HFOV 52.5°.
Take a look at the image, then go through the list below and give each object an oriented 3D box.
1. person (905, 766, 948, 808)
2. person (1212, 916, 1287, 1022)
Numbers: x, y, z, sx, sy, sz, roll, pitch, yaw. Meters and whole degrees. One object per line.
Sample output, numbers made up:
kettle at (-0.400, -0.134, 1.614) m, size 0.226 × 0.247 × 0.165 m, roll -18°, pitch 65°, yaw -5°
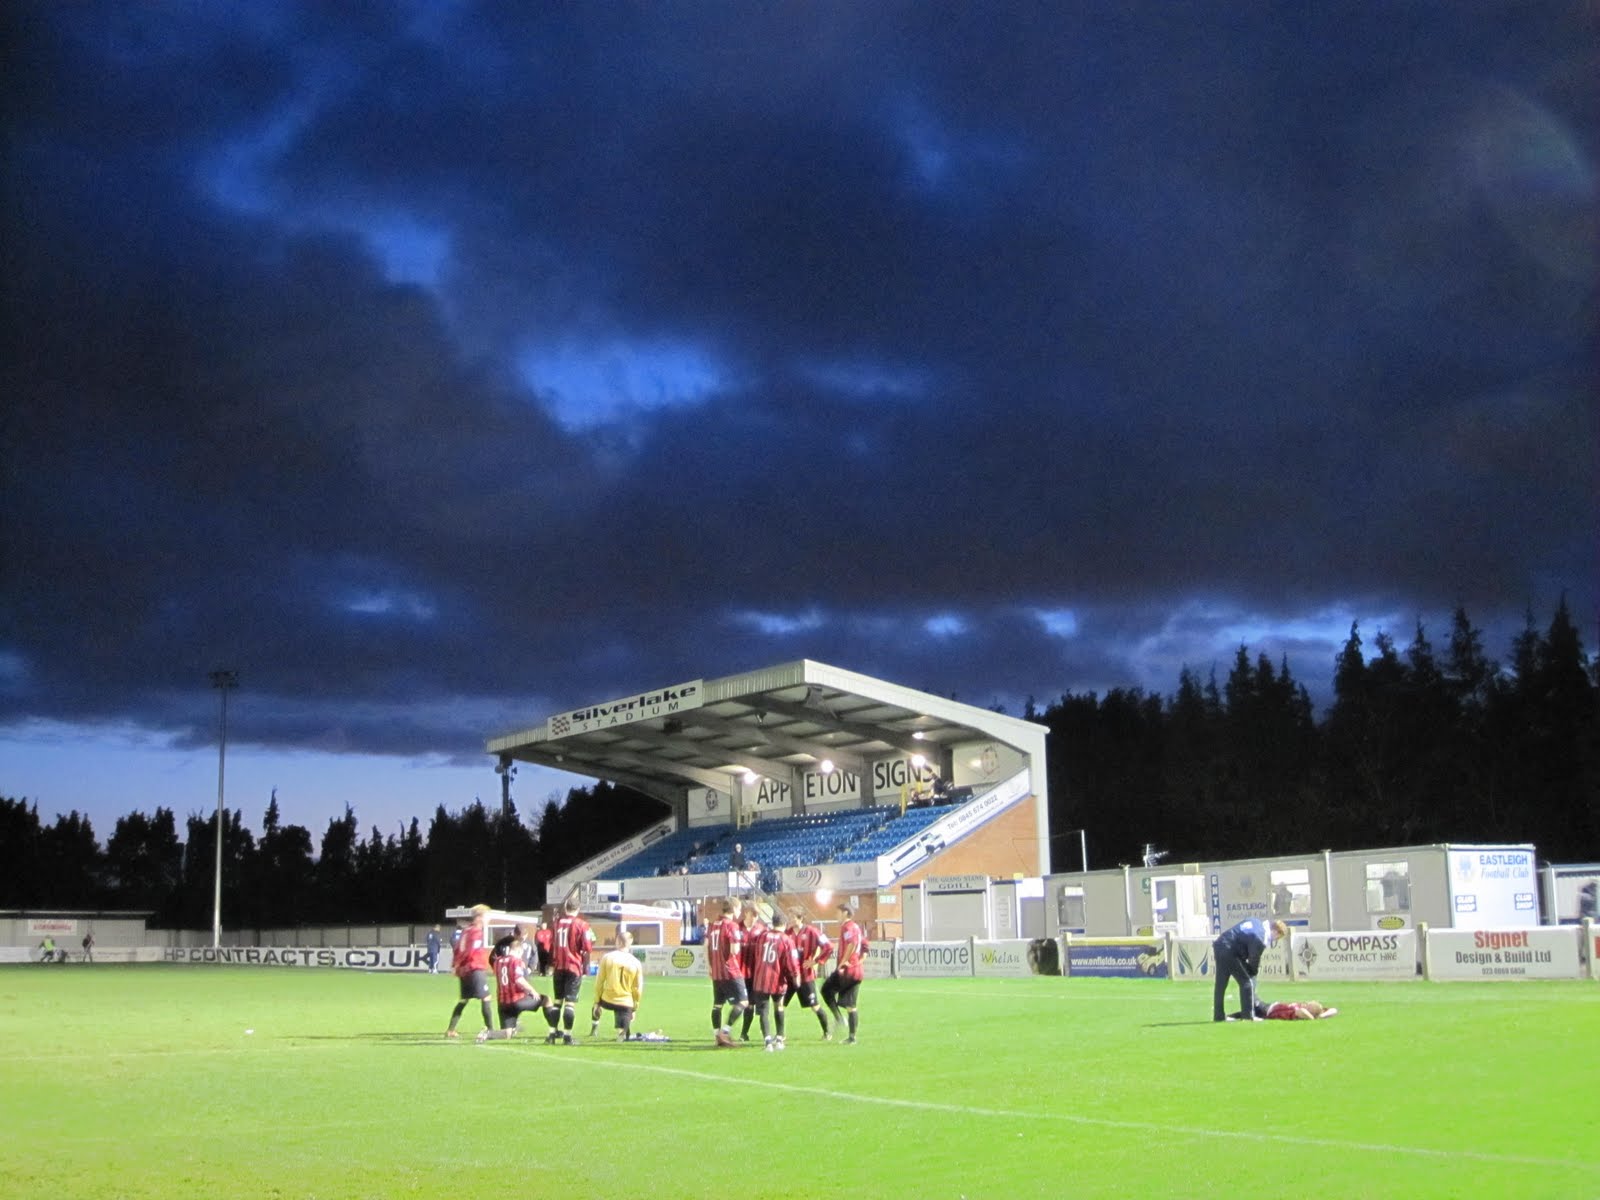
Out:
person at (4.791, 7.206, 62.280) m, size 1.565 × 1.219 × 1.122 m, roll -8°, pitch -9°, yaw 36°
person at (6.736, 5.679, 24.773) m, size 0.780 × 1.475 × 1.182 m, roll -1°, pitch -13°, yaw 3°
